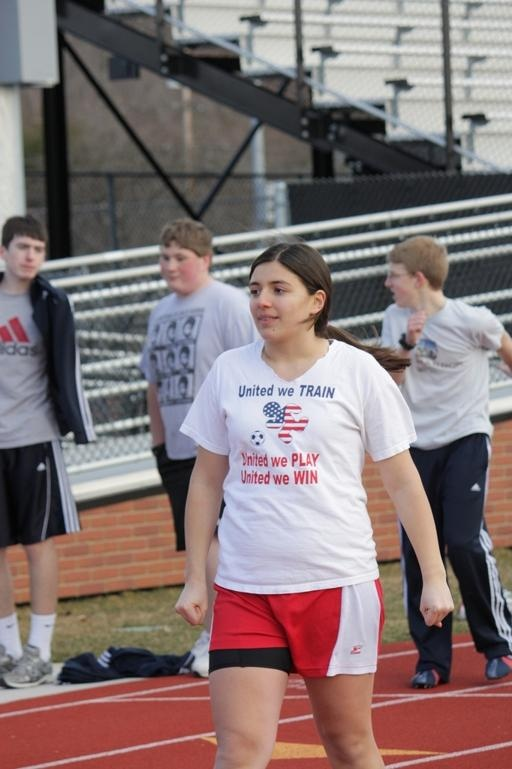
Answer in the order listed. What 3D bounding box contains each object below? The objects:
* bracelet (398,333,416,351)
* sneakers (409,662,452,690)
[{"bbox_3d":[0.693,-0.197,6.875,0.020,0.075,0.067,-8,2,-16],"label":"bracelet"},{"bbox_3d":[0.799,1.366,6.886,0.075,0.100,0.216,-10,-17,31],"label":"sneakers"}]
